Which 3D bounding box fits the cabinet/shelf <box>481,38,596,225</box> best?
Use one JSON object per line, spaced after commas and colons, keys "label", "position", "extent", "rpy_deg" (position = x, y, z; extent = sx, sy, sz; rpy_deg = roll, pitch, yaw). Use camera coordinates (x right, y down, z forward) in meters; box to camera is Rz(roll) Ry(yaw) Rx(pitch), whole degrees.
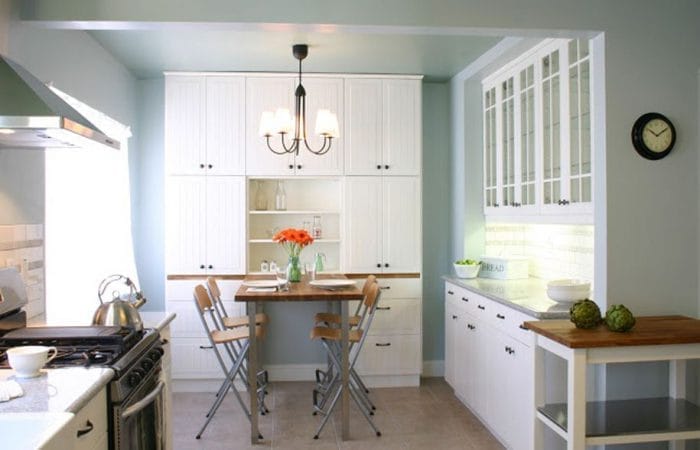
{"label": "cabinet/shelf", "position": [1.841, -0.765, 4.698], "extent": [0.454, 1.666, 1.774], "rpy_deg": [-3, 2, -14]}

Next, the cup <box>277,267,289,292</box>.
{"label": "cup", "position": [-0.599, 0.493, 4.667], "extent": [0.173, 0.269, 0.177], "rpy_deg": [-1, -8, 0]}

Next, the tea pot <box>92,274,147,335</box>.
{"label": "tea pot", "position": [-1.700, 0.596, 3.775], "extent": [0.347, 0.471, 0.467], "rpy_deg": [-8, -5, 18]}

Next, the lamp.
{"label": "lamp", "position": [-0.488, -1.198, 4.953], "extent": [0.767, 1.055, 1.028], "rpy_deg": [-1, 10, -8]}

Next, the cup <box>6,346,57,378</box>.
{"label": "cup", "position": [-1.905, 0.810, 3.045], "extent": [0.178, 0.124, 0.221], "rpy_deg": [-8, -11, 43]}

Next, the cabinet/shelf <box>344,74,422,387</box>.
{"label": "cabinet/shelf", "position": [0.369, 0.119, 5.937], "extent": [0.986, 3.545, 0.890], "rpy_deg": [-3, 13, -7]}

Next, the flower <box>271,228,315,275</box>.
{"label": "flower", "position": [-0.535, 0.329, 5.122], "extent": [0.433, 0.509, 0.423], "rpy_deg": [-7, -14, 43]}

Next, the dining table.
{"label": "dining table", "position": [-0.444, 1.189, 4.966], "extent": [1.232, 1.290, 1.383], "rpy_deg": [-1, 1, -6]}

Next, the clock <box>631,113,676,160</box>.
{"label": "clock", "position": [2.365, -0.699, 3.970], "extent": [0.361, 0.362, 0.073], "rpy_deg": [11, -4, -4]}

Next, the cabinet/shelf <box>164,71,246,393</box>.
{"label": "cabinet/shelf", "position": [-1.636, 0.029, 5.687], "extent": [0.907, 3.292, 0.547], "rpy_deg": [-2, 15, -24]}
